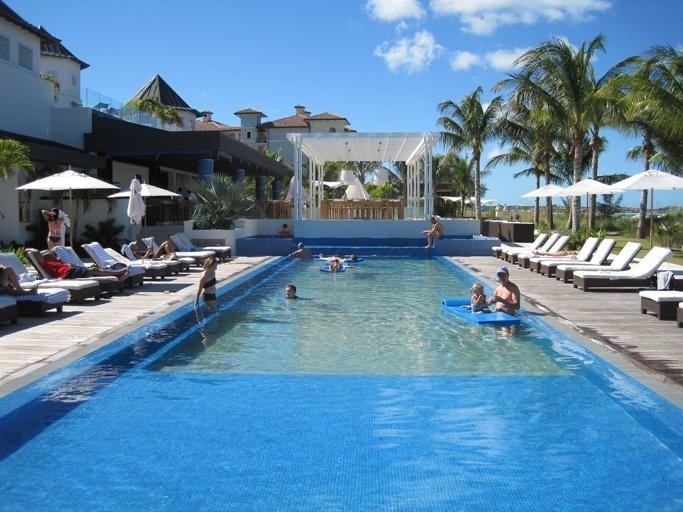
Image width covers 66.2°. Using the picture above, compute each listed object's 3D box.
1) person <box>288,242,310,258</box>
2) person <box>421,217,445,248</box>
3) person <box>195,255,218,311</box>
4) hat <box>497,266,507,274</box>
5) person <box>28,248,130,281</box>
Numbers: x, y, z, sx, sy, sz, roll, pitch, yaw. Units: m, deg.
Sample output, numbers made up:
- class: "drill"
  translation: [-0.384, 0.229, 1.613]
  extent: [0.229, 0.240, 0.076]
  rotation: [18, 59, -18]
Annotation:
- class: "person"
  translation: [-1.497, -0.176, 19.027]
  extent: [0.554, 0.450, 0.726]
  rotation: [-2, 5, -7]
- class: "person"
  translation: [3.650, -0.959, 20.876]
  extent: [0.757, 1.224, 1.797]
  rotation: [2, 7, 9]
- class: "person"
  translation: [-2.573, 0.491, 9.780]
  extent: [0.401, 0.960, 1.175]
  rotation: [-1, 7, -15]
- class: "hat"
  translation: [2.769, 0.262, 9.003]
  extent: [0.206, 0.121, 0.329]
  rotation: [-1, -1, 16]
- class: "person"
  translation: [-5.252, 0.248, 10.361]
  extent: [1.570, 0.547, 0.759]
  rotation: [1, 1, -6]
